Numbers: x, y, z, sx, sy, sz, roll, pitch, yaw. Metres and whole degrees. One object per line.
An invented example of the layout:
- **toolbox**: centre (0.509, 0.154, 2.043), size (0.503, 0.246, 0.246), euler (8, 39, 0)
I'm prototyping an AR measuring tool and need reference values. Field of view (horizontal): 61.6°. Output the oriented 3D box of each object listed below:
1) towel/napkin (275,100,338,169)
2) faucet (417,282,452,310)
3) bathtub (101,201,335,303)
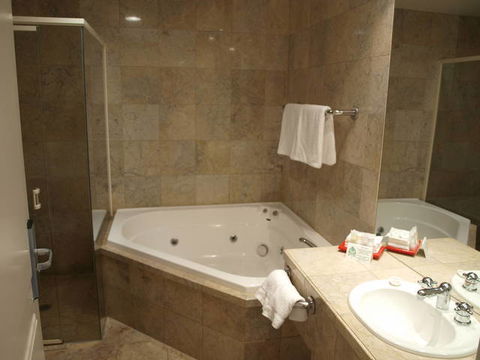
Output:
- **towel/napkin**: centre (0.539, -0.361, 3.175), size (0.258, 0.459, 0.579), euler (-8, 18, -22)
- **faucet**: centre (0.907, 0.545, 1.882), size (0.142, 0.120, 0.080), euler (-5, 13, -19)
- **bathtub**: centre (-0.244, 0.616, 3.547), size (1.735, 0.505, 1.104), euler (-4, 12, -14)
